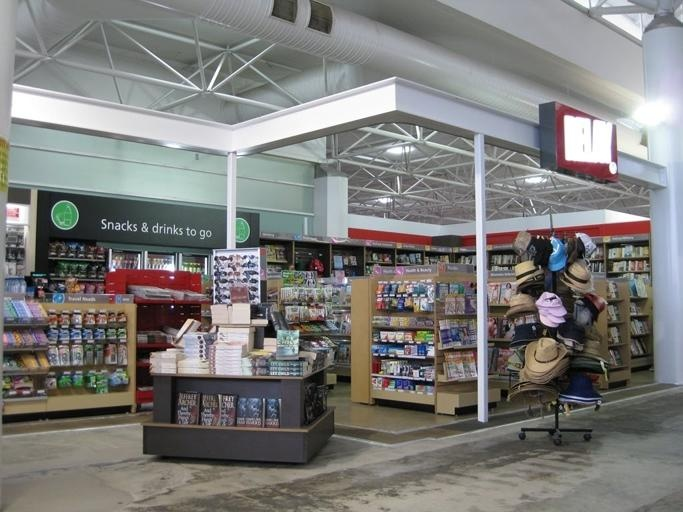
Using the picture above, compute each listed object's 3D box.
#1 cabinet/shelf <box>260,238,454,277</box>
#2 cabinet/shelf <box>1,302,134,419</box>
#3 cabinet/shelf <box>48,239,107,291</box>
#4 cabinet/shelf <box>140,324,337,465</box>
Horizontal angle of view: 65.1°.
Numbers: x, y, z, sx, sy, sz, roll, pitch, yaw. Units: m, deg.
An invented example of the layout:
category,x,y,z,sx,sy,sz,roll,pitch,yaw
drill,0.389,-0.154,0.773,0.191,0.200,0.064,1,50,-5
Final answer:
category,x,y,z,sx,sy,sz,roll,pitch,yaw
cabinet/shelf,0.425,0.103,16.052,6.542,1.005,0.826,2,-4,-40
cabinet/shelf,-3.766,1.417,7.232,2.100,1.570,0.773,1,0,-37
cabinet/shelf,-5.361,0.196,10.769,0.346,0.956,1.071,-10,-10,44
cabinet/shelf,-1.083,1.336,5.674,1.551,0.809,1.532,-3,-4,31
